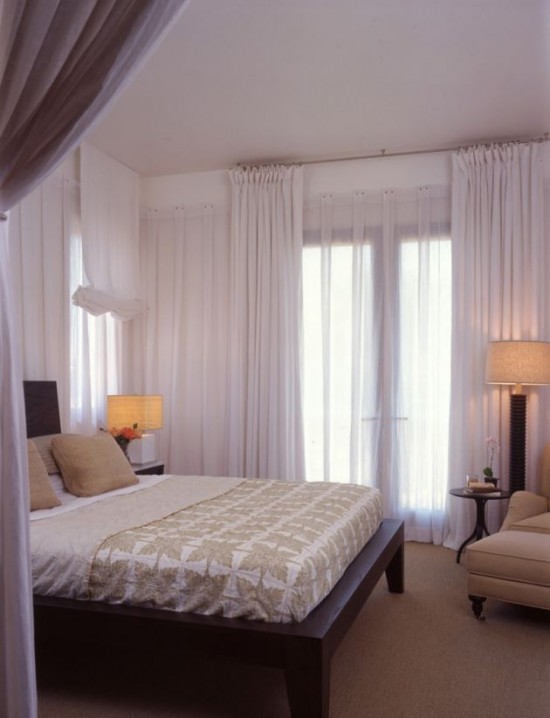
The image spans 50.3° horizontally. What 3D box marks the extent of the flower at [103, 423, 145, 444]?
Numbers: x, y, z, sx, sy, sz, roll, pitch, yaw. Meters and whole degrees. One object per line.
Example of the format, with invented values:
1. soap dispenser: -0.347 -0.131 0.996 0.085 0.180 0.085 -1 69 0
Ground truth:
1. flower: -1.013 0.506 3.978 0.158 0.123 0.175 2 0 14

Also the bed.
1. bed: -0.187 0.599 2.036 0.761 0.539 0.795 0 1 13

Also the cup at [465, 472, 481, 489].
1. cup: 1.371 0.848 4.069 0.062 0.138 0.105 0 3 -8
